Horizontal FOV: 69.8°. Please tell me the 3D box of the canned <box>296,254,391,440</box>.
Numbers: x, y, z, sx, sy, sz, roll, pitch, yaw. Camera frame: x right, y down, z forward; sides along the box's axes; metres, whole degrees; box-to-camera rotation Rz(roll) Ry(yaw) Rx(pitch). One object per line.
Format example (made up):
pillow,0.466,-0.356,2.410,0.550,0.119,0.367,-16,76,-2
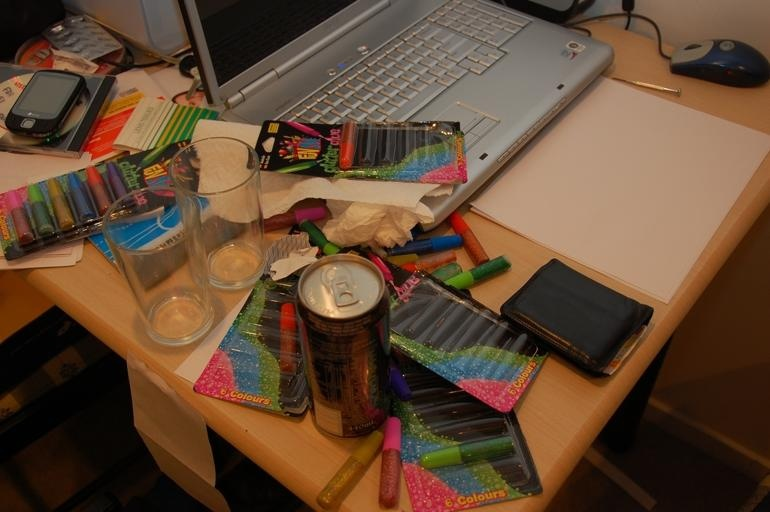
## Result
canned,-0.049,0.122,0.686,0.103,0.255,0.106,20,47,17
